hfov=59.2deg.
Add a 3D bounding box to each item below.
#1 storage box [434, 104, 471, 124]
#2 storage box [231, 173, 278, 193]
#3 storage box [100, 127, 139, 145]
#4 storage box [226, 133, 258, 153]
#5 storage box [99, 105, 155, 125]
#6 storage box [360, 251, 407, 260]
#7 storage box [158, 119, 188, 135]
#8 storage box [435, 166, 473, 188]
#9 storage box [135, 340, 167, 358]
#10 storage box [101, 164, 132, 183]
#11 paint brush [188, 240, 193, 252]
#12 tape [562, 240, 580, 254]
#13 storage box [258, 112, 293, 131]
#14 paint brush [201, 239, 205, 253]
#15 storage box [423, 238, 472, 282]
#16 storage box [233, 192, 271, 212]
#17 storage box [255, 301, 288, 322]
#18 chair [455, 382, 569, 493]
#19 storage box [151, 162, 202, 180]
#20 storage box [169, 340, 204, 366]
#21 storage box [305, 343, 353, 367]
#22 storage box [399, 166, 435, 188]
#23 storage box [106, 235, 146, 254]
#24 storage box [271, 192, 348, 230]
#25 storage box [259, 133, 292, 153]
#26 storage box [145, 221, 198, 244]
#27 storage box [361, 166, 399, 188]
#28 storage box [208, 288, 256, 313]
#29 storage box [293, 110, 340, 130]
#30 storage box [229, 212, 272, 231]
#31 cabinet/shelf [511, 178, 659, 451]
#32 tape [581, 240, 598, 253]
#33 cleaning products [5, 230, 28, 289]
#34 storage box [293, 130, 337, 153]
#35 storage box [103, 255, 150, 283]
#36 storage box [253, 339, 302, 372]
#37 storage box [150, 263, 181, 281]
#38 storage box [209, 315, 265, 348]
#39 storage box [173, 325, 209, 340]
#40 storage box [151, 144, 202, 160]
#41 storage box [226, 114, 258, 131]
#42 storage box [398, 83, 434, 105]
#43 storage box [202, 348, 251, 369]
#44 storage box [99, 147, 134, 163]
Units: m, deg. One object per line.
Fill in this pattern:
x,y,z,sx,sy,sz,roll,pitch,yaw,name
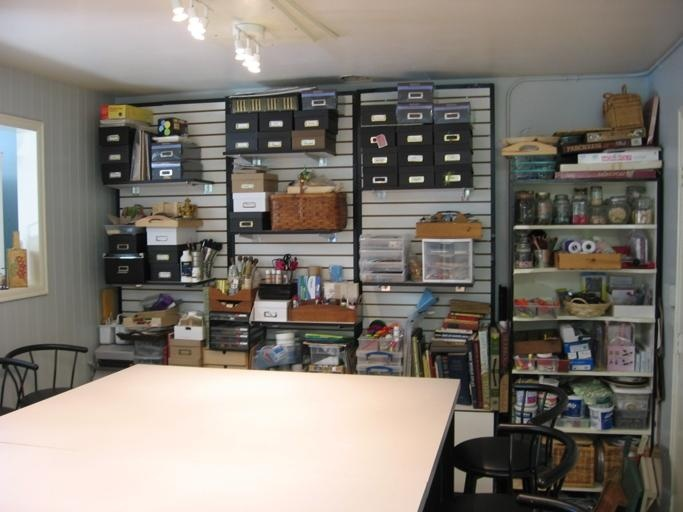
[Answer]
0.927,-1.195,5.056,0.297,0.116,0.190,2,4,15,storage box
-0.793,-0.655,5.449,0.273,0.101,0.242,1,2,14,storage box
-2.123,-1.119,5.611,0.239,0.114,0.209,0,3,0,storage box
-0.889,-1.005,5.434,0.253,0.117,0.215,1,2,5,storage box
-2.018,-1.326,5.670,0.490,0.179,0.274,-5,11,-18,storage box
0.346,-0.003,5.125,0.355,0.074,0.031,0,13,11,storage box
-1.578,-1.192,5.628,0.224,0.115,0.207,4,6,39,storage box
0.956,-0.663,5.015,0.257,0.118,0.221,0,1,-3,storage box
-1.796,0.848,5.663,0.292,0.160,0.190,0,-2,7,storage box
-2.130,-0.772,5.664,0.247,0.113,0.213,0,1,-6,storage box
-1.429,-0.096,5.664,0.021,0.145,0.053,18,-26,-22,paint brush
1.813,-0.079,4.727,0.110,0.090,0.028,-18,-5,32,tape
-0.587,-1.186,5.364,0.241,0.111,0.207,0,2,2,storage box
-1.310,-0.096,5.691,0.035,0.097,0.111,-5,12,-9,paint brush
0.882,0.047,4.994,0.377,0.362,0.143,2,14,20,storage box
-0.817,-0.484,5.387,0.249,0.115,0.218,1,1,11,storage box
-0.633,0.494,5.374,0.263,0.120,0.225,1,-1,12,storage box
0.977,1.171,3.487,0.666,0.677,0.646,0,8,20,chair
-1.543,-0.785,5.673,0.315,0.107,0.273,0,1,9,storage box
-1.437,0.890,5.611,0.318,0.180,0.271,1,-2,8,storage box
-0.103,0.853,5.276,0.321,0.117,0.236,1,-1,16,storage box
0.643,-0.667,5.153,0.253,0.116,0.217,0,1,5,storage box
-2.030,-0.107,5.615,0.259,0.119,0.226,1,0,5,storage box
-0.285,-0.388,5.295,0.667,0.339,0.244,-3,12,-5,storage box
-0.585,-0.988,5.310,0.249,0.113,0.215,1,2,5,storage box
-1.563,-0.211,5.604,0.489,0.210,0.273,-5,11,-16,storage box
0.331,-0.673,5.211,0.247,0.117,0.222,1,3,18,storage box
-1.000,0.422,5.530,0.322,0.143,0.280,1,0,5,storage box
-0.215,-1.140,5.272,0.330,0.123,0.213,1,4,11,storage box
-0.823,-0.302,5.379,0.253,0.116,0.220,0,-2,4,storage box
1.955,0.371,4.856,1.159,2.089,0.845,0,13,13,cabinet/shelf
1.942,-0.070,4.705,0.113,0.087,0.058,-9,-5,3,tape
-2.744,0.029,5.060,0.161,0.451,0.283,-7,13,-16,cleaning products
-0.256,-0.992,5.284,0.278,0.127,0.244,1,2,12,storage box
-2.032,0.125,5.632,0.355,0.199,0.304,0,1,-7,storage box
-0.578,0.892,5.378,0.374,0.133,0.230,-11,0,37,storage box
-1.639,0.148,5.585,0.239,0.112,0.212,1,2,0,storage box
-0.974,0.698,5.535,0.407,0.240,0.370,3,4,15,storage box
-1.406,0.710,5.542,0.202,0.072,0.175,1,-2,5,storage box
-1.561,-0.970,5.667,0.353,0.095,0.214,1,6,8,storage box
-0.884,-1.183,5.358,0.283,0.110,0.179,1,3,8,storage box
0.624,-1.368,5.064,0.302,0.121,0.192,1,4,10,storage box
-1.054,0.933,5.455,0.339,0.123,0.216,1,0,8,storage box
-2.134,-0.951,5.579,0.219,0.104,0.191,0,2,-2,storage box
